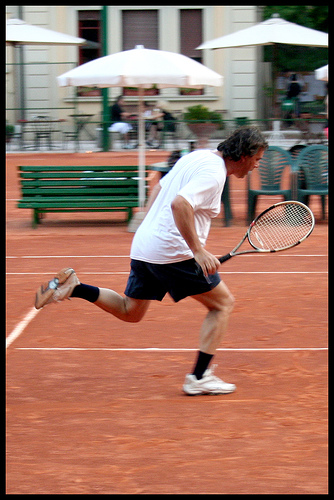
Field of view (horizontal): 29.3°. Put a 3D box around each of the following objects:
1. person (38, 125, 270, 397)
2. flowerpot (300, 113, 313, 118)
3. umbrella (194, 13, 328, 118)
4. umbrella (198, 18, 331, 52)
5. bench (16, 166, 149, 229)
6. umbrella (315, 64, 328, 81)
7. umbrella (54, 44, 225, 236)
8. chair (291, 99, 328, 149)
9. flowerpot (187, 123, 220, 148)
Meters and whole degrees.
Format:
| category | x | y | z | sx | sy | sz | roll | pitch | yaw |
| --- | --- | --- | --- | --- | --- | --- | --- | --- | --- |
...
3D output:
| category | x | y | z | sx | sy | sz | roll | pitch | yaw |
| --- | --- | --- | --- | --- | --- | --- | --- | --- | --- |
| person | -0.026 | 0.105 | 3.383 | 1.036 | 1.518 | 0.549 | 2 | 9 | 8 |
| flowerpot | 3.225 | -3.123 | 14.761 | 0.170 | 0.062 | 0.160 | -2 | 3 | -25 |
| umbrella | 1.951 | -3.604 | 12.271 | 1.874 | 1.144 | 1.736 | 2 | 4 | 3 |
| umbrella | 1.952 | -4.165 | 12.267 | 2.283 | 0.660 | 0.839 | 7 | 10 | 41 |
| bench | -1.358 | -0.854 | 10.040 | 2.306 | 0.950 | 0.706 | 3 | -12 | 11 |
| umbrella | 2.652 | -3.092 | 10.960 | 0.202 | 0.300 | 0.889 | 3 | 8 | 12 |
| umbrella | -0.500 | -2.022 | 10.455 | 3.342 | 3.107 | 3.082 | 5 | 13 | 10 |
| chair | 3.220 | -2.926 | 14.349 | 0.714 | 1.134 | 2.059 | 3 | 8 | 11 |
| flowerpot | 0.763 | -2.265 | 12.757 | 0.793 | 0.507 | 0.736 | 0 | -1 | -11 |
